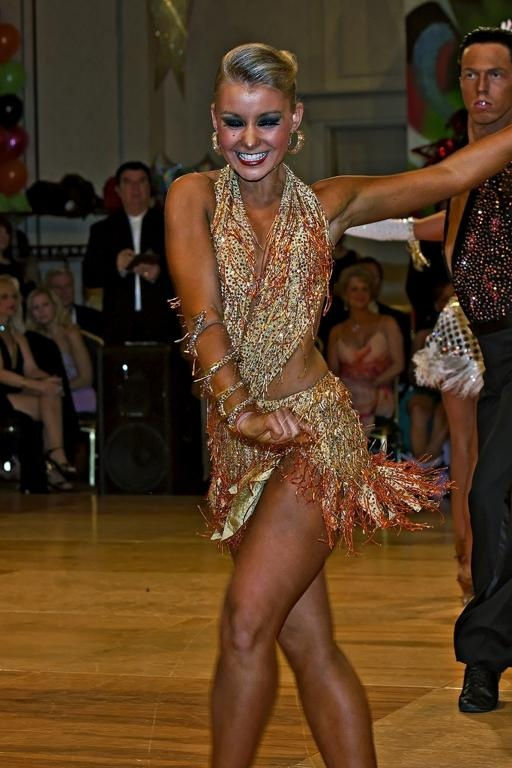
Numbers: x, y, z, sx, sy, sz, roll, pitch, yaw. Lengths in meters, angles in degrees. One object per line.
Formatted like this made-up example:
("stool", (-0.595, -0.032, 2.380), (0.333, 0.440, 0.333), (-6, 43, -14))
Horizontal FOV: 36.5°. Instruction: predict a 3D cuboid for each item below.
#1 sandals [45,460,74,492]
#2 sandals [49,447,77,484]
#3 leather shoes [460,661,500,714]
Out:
("sandals", (-1.272, 0.599, 5.013), (0.102, 0.101, 0.273), (-11, 24, -43))
("sandals", (-1.260, 0.531, 4.994), (0.189, 0.232, 0.056), (2, -3, -37))
("leather shoes", (0.557, 0.757, 1.914), (0.060, 0.060, 0.171), (-3, -4, 12))
